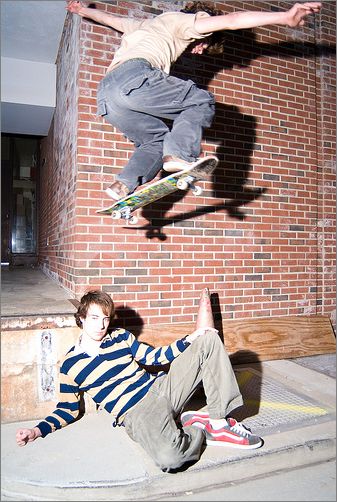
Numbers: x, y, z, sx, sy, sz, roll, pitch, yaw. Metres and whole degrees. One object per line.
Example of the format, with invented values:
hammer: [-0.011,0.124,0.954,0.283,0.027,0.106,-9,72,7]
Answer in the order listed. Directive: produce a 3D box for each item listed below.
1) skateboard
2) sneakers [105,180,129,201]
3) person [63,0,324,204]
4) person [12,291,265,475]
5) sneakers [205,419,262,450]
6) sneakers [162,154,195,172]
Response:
skateboard: [-0.136,-0.438,2.928,1.013,0.162,0.248,-26,-23,21]
sneakers: [-0.325,-0.373,2.528,0.158,0.089,0.056,-11,26,47]
person: [-0.085,-1.000,2.561,0.962,1.371,0.583,5,7,17]
person: [-0.169,0.679,2.110,1.024,0.772,0.679,6,8,25]
sneakers: [0.344,1.014,2.199,0.357,0.158,0.118,-1,-18,11]
sneakers: [0.049,-0.491,2.338,0.204,0.084,0.071,10,-34,-9]
